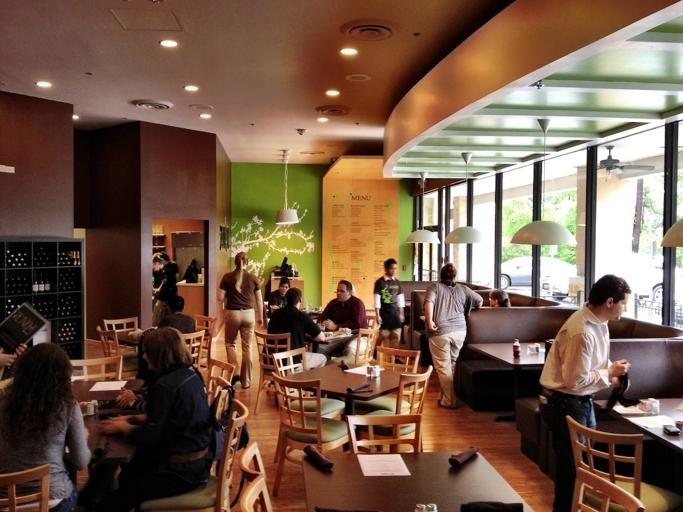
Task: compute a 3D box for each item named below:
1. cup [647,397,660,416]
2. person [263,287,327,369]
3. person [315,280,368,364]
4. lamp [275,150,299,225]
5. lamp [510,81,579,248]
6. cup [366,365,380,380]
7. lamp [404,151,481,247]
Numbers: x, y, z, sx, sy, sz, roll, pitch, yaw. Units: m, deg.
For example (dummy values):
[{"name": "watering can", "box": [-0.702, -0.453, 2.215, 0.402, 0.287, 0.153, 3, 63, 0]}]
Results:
[{"name": "cup", "box": [2.655, 1.296, 4.714, 0.095, 0.122, 0.168, -1, 1, -1]}, {"name": "person", "box": [-0.604, 1.263, 7.218, 0.695, 1.319, 0.796, 0, -7, 30]}, {"name": "person", "box": [0.039, 1.141, 8.418, 0.753, 1.225, 0.579, 24, -32, -36]}, {"name": "lamp", "box": [-1.330, -1.139, 13.496, 0.538, 1.592, 1.748, 0, -1, -6]}, {"name": "lamp", "box": [2.490, -0.623, 6.770, 0.688, 1.660, 1.824, -1, -1, 22]}, {"name": "cup", "box": [0.320, 1.222, 5.529, 0.120, 0.114, 0.112, 0, 2, 0]}, {"name": "lamp", "box": [2.027, -0.750, 10.731, 1.711, 1.552, 0.712, 0, -1, -1]}]
